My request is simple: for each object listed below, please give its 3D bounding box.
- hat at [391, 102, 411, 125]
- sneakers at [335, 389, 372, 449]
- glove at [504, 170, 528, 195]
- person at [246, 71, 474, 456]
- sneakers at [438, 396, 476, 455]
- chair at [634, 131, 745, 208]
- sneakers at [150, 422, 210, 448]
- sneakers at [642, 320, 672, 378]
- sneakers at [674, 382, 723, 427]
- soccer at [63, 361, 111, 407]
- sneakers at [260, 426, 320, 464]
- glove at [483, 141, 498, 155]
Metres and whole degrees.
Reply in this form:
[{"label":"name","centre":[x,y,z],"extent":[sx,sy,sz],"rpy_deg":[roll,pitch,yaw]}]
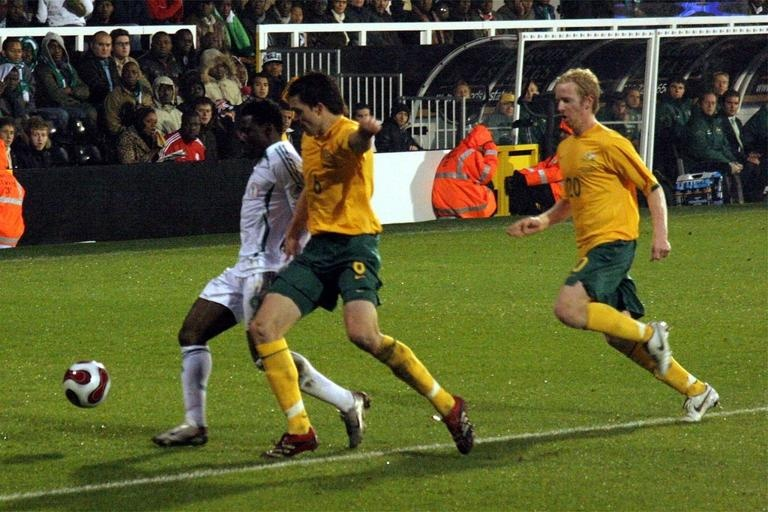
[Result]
[{"label":"hat","centre":[0.261,-2.276,17.391],"extent":[0.283,0.354,0.367],"rpy_deg":[1,-7,-7]},{"label":"sneakers","centre":[-0.217,1.271,8.496],"extent":[0.176,0.467,0.238],"rpy_deg":[3,13,40]},{"label":"glove","centre":[2.130,-1.197,17.452],"extent":[0.285,0.356,0.136],"rpy_deg":[6,19,26]},{"label":"person","centre":[-0.292,0.061,8.412],"extent":[1.494,2.978,0.742],"rpy_deg":[-1,7,2]},{"label":"sneakers","centre":[0.609,1.319,8.395],"extent":[0.238,0.496,0.183],"rpy_deg":[-24,3,-34]},{"label":"chair","centre":[5.504,-1.588,19.406],"extent":[1.649,1.534,1.176],"rpy_deg":[-1,12,0]},{"label":"sneakers","centre":[-1.610,1.437,8.603],"extent":[0.485,0.203,0.167],"rpy_deg":[2,-6,-3]},{"label":"sneakers","centre":[2.277,0.765,8.847],"extent":[0.164,0.462,0.223],"rpy_deg":[-5,12,23]},{"label":"sneakers","centre":[2.628,1.228,8.879],"extent":[0.450,0.208,0.160],"rpy_deg":[-44,23,0]},{"label":"soccer","centre":[-2.421,1.036,8.756],"extent":[0.378,0.404,0.376],"rpy_deg":[-5,-6,26]},{"label":"sneakers","centre":[-0.692,1.458,8.348],"extent":[0.539,0.244,0.189],"rpy_deg":[-11,-5,-2]},{"label":"glove","centre":[1.671,-1.681,16.773],"extent":[0.204,0.184,0.194],"rpy_deg":[-2,5,-12]}]
